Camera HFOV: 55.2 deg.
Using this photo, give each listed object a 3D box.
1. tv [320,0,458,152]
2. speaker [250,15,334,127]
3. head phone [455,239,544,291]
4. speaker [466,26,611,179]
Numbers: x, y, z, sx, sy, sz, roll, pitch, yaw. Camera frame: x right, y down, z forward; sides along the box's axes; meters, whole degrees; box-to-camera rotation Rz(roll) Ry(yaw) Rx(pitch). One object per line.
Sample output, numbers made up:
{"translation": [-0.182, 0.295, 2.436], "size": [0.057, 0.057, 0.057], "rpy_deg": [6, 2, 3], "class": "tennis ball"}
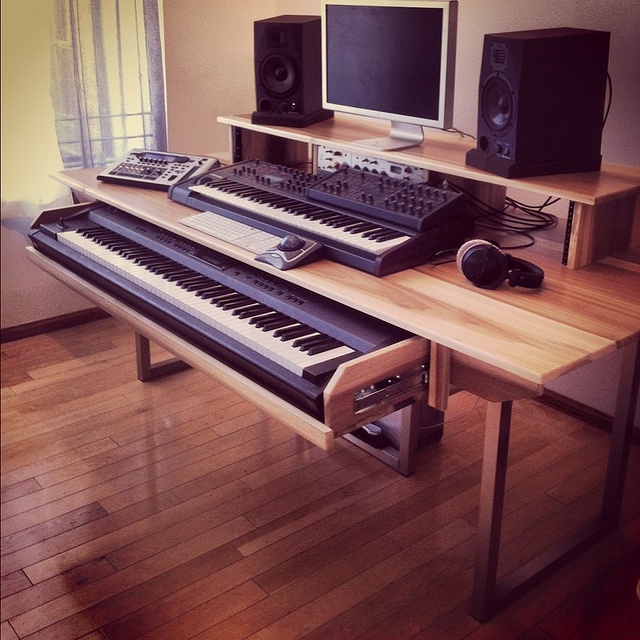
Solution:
{"translation": [0.205, -0.725, 1.800], "size": [0.150, 0.379, 0.493], "rpy_deg": [-28, 36, -34], "class": "tv"}
{"translation": [-0.086, -0.856, 2.135], "size": [0.319, 0.309, 0.274], "rpy_deg": [0, 27, 3], "class": "speaker"}
{"translation": [0.428, -0.121, 1.437], "size": [0.212, 0.085, 0.153], "rpy_deg": [10, 20, -13], "class": "head phone"}
{"translation": [0.565, -0.566, 1.537], "size": [0.328, 0.324, 0.210], "rpy_deg": [-14, 34, -13], "class": "speaker"}
